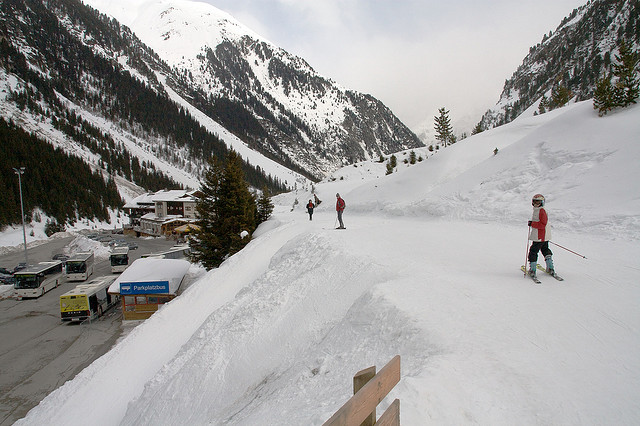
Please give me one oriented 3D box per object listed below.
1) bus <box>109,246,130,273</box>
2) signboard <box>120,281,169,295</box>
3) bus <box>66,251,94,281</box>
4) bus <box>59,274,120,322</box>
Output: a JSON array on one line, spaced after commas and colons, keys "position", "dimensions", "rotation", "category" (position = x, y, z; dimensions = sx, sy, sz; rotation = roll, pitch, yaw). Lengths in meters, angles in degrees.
[{"position": [-30.694, 7.331, 59.909], "dimensions": [2.891, 3.684, 8.647], "rotation": [-2, 1, -15], "category": "bus"}, {"position": [-18.652, 8.018, 41.756], "dimensions": [4.868, 1.508, 0.249], "rotation": [-13, 7, -4], "category": "signboard"}, {"position": [-35.180, 7.884, 58.525], "dimensions": [1.805, 2.193, 6.409], "rotation": [-2, -2, -13], "category": "bus"}, {"position": [-26.549, 10.401, 45.134], "dimensions": [2.844, 4.887, 5.126], "rotation": [-8, 8, 24], "category": "bus"}]
